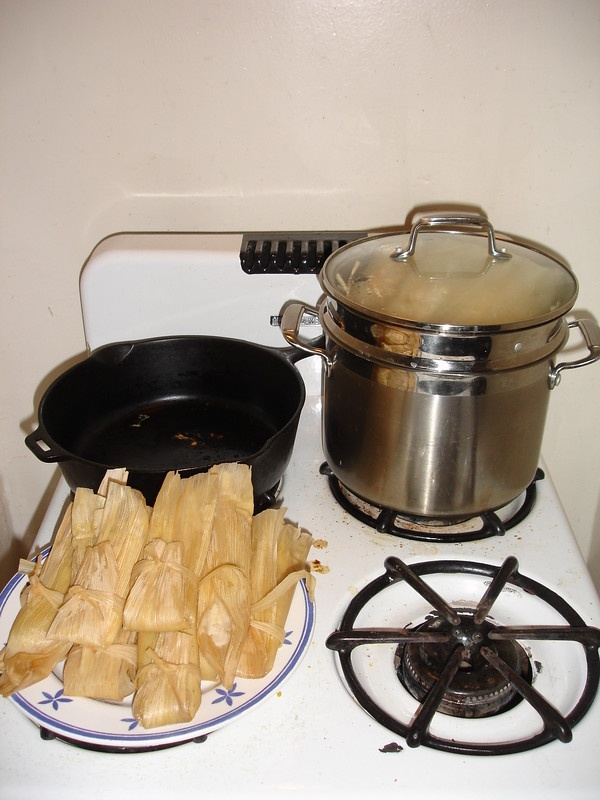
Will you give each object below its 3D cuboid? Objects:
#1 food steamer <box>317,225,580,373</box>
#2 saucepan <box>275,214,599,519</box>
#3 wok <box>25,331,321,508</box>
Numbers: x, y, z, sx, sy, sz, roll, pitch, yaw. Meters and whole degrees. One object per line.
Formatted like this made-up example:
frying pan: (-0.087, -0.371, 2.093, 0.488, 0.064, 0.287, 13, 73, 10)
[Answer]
food steamer: (0.141, -0.093, 0.716, 0.212, 0.078, 0.179, 0, 36, 0)
saucepan: (0.132, -0.022, 0.855, 0.446, 0.344, 0.308, 1, 37, 1)
wok: (-0.154, 0.010, 0.909, 0.316, 0.098, 0.224, -11, 34, -22)
